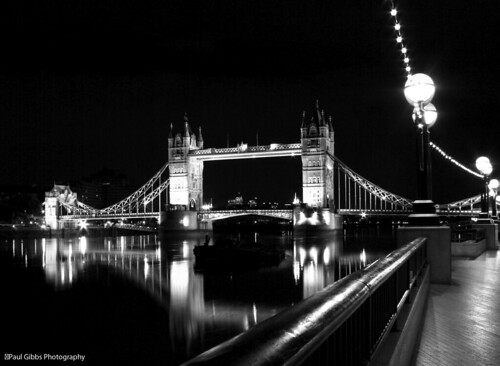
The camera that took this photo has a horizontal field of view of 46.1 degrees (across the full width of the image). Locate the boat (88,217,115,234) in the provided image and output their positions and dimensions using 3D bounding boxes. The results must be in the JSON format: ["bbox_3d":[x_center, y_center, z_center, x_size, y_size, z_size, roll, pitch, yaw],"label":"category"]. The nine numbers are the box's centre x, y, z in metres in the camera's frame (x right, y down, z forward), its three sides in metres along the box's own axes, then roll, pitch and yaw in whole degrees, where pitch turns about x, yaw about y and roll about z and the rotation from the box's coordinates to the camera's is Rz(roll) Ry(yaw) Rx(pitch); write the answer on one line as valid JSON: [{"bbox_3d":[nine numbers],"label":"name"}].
[{"bbox_3d":[-23.187,6.958,92.722,4.144,2.488,9.717,-2,-3,-14],"label":"boat"}]

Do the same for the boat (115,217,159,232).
[{"bbox_3d":[-17.847,7.058,96.627,5.473,2.537,34.732,-2,-3,-8],"label":"boat"}]
